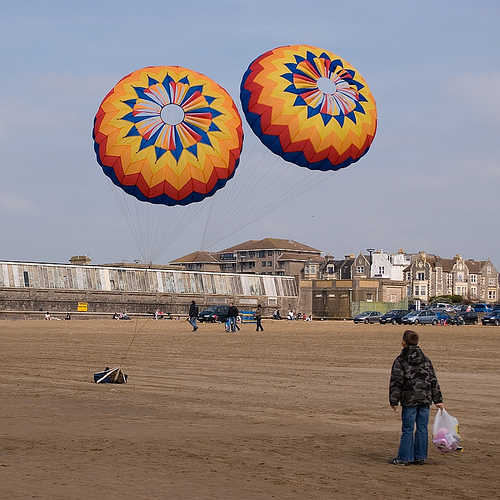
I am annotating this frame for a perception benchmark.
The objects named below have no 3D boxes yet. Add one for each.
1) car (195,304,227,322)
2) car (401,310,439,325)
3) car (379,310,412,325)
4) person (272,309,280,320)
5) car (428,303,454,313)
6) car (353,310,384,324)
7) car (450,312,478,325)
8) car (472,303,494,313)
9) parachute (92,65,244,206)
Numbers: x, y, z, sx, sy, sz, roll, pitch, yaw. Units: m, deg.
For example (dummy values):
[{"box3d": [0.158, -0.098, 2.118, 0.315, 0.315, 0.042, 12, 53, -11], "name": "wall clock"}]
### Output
[{"box3d": [-2.391, 4.475, 61.492, 1.361, 1.026, 2.247, -4, -6, 34], "name": "car"}, {"box3d": [11.870, 4.831, 62.480, 2.528, 1.032, 1.524, 3, 0, -25], "name": "car"}, {"box3d": [10.766, 4.970, 65.254, 0.976, 0.726, 2.156, -5, -6, 42], "name": "car"}, {"box3d": [2.399, 6.081, 82.357, 1.011, 1.109, 1.925, 0, -2, 4], "name": "person"}, {"box3d": [15.957, 5.188, 74.209, 1.881, 0.900, 1.265, 4, 0, 24], "name": "car"}, {"box3d": [9.052, 5.152, 66.890, 1.904, 0.807, 0.960, 6, -8, -42], "name": "car"}, {"box3d": [16.113, 5.508, 67.400, 2.086, 0.959, 1.410, -2, 0, 8], "name": "car"}, {"box3d": [20.218, 5.321, 77.320, 1.024, 0.808, 1.668, -4, 9, -42], "name": "car"}, {"box3d": [-2.181, -3.028, 23.693, 3.673, 3.718, 1.300, 3, 0, -11], "name": "parachute"}]
